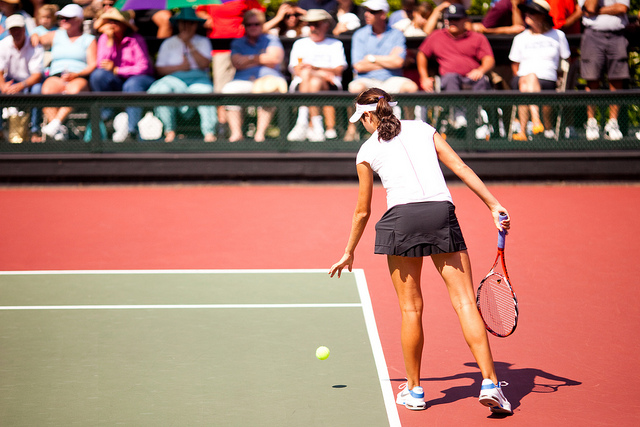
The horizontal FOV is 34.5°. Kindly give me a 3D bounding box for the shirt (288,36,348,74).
[{"bbox_3d":[-0.024,-2.564,17.151,1.042,0.772,0.514,-1,6,-8],"label":"shirt"}]

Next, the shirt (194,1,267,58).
[{"bbox_3d":[-1.488,-3.023,17.007,0.833,0.585,0.184,-2,13,2],"label":"shirt"}]

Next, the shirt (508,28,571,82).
[{"bbox_3d":[3.668,-2.607,17.055,0.969,1.042,0.580,1,-8,11],"label":"shirt"}]

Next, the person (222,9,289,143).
[{"bbox_3d":[-1.087,-2.262,16.884,1.044,2.188,0.496,-3,-6,-3],"label":"person"}]

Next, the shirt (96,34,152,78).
[{"bbox_3d":[-3.206,-2.586,17.318,0.718,0.741,0.325,-21,-11,-1],"label":"shirt"}]

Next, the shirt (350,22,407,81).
[{"bbox_3d":[0.995,-2.616,17.094,0.908,1.135,0.563,-1,0,7],"label":"shirt"}]

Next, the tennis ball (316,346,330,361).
[{"bbox_3d":[0.035,1.639,12.275,0.136,0.145,0.140,1,40,-1],"label":"tennis ball"}]

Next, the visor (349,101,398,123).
[{"bbox_3d":[0.543,-1.102,11.671,0.358,0.113,0.255,-23,6,17],"label":"visor"}]

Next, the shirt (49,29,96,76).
[{"bbox_3d":[-4.231,-2.649,17.341,0.715,1.001,0.533,3,-19,-12],"label":"shirt"}]
